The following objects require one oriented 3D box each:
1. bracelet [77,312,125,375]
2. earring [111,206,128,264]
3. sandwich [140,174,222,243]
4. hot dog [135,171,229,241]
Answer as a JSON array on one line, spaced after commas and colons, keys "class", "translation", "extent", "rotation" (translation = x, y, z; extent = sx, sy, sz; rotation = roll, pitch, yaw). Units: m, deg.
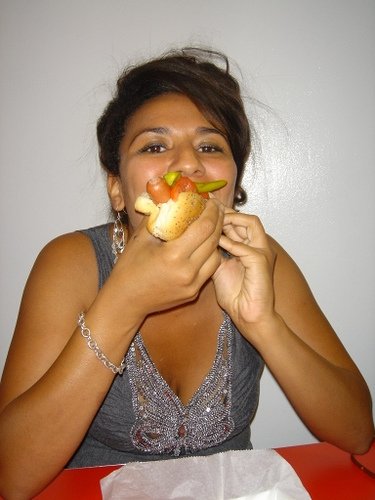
[{"class": "bracelet", "translation": [-0.238, 0.265, 1.280], "extent": [0.107, 0.174, 0.037], "rotation": [-27, 14, 26]}, {"class": "earring", "translation": [-0.254, -0.066, 1.711], "extent": [0.073, 0.196, 0.174], "rotation": [-10, 9, -7]}, {"class": "sandwich", "translation": [-0.064, -0.104, 1.280], "extent": [0.231, 0.100, 0.298], "rotation": [0, -14, -10]}, {"class": "hot dog", "translation": [0.004, -0.119, 1.241], "extent": [0.239, 0.161, 0.100], "rotation": [-24, -29, -12]}]
